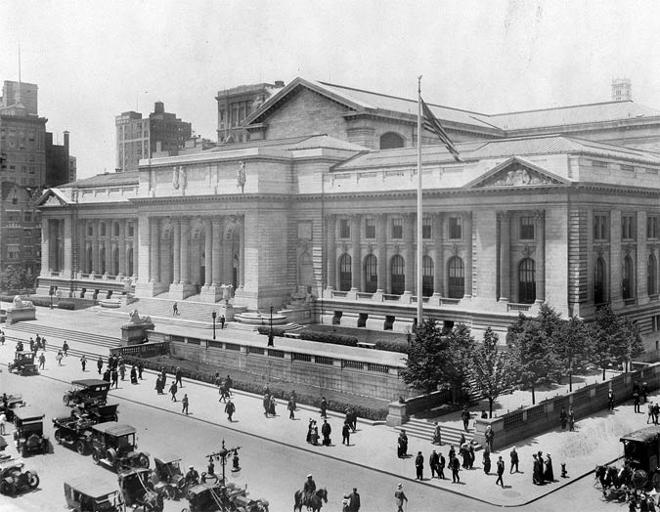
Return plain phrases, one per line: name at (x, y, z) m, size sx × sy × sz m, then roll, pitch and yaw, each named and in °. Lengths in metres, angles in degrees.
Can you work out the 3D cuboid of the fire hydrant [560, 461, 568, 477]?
fire hydrant at (14.465, 13.231, 55.011) m, size 0.538 × 0.993 × 0.603 m, roll 7°, pitch 14°, yaw 40°
